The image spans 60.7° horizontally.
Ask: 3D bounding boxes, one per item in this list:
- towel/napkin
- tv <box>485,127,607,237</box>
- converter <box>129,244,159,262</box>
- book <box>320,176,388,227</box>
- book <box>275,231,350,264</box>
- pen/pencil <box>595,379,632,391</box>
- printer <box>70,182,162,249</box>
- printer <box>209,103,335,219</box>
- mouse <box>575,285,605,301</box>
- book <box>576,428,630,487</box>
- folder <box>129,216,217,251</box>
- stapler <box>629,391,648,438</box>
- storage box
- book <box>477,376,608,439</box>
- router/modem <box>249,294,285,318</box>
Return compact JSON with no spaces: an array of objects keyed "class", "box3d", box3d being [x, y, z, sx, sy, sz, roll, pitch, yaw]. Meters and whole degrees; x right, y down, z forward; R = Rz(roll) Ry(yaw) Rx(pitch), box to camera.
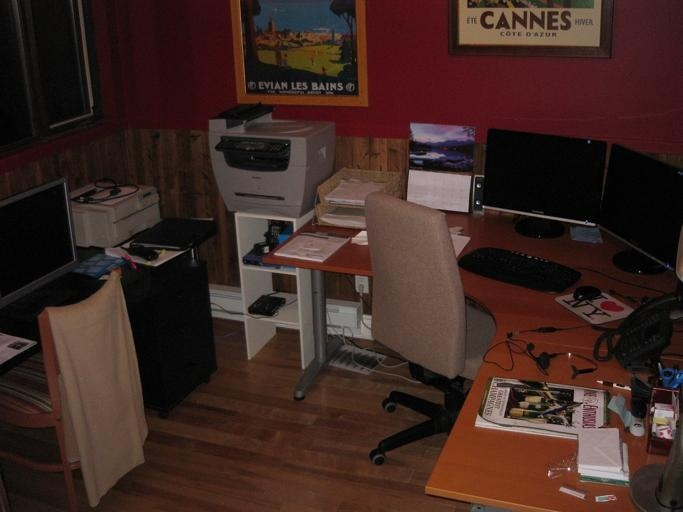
[{"class":"towel/napkin","box3d":[-1.130,0.634,2.798,0.162,1.056,0.417,16,27,31]},{"class":"tv","box3d":[1.170,-0.418,3.290,0.549,0.463,0.228,15,32,29]},{"class":"converter","box3d":[-1.158,-0.021,3.425,0.167,0.087,0.054,18,-2,16]},{"class":"book","box3d":[0.059,-0.351,3.644,0.278,0.139,0.367,10,32,20]},{"class":"book","box3d":[-0.167,-0.054,3.341,0.241,0.024,0.221,8,29,26]},{"class":"pen/pencil","box3d":[1.049,0.495,2.248,0.126,0.029,0.018,10,46,25]},{"class":"printer","box3d":[-1.457,-0.268,3.726,0.462,0.273,0.543,9,25,15]},{"class":"printer","box3d":[-0.441,-0.607,3.744,0.705,0.619,0.488,6,23,13]},{"class":"mouse","box3d":[1.165,0.171,2.760,0.104,0.031,0.071,-3,26,3]},{"class":"book","box3d":[0.877,0.661,1.953,0.161,0.069,0.223,9,24,19]},{"class":"folder","box3d":[-1.003,-0.136,3.560,0.282,0.069,0.289,8,29,15]},{"class":"stapler","box3d":[1.043,0.560,2.049,0.070,0.159,0.074,7,21,23]},{"class":"storage box","box3d":[-1.439,-0.286,3.728,0.444,0.297,0.593,9,24,16]},{"class":"book","box3d":[0.739,0.553,2.145,0.305,0.041,0.219,6,28,15]},{"class":"router/modem","box3d":[-0.510,0.331,3.911,0.152,0.036,0.156,6,27,18]}]
